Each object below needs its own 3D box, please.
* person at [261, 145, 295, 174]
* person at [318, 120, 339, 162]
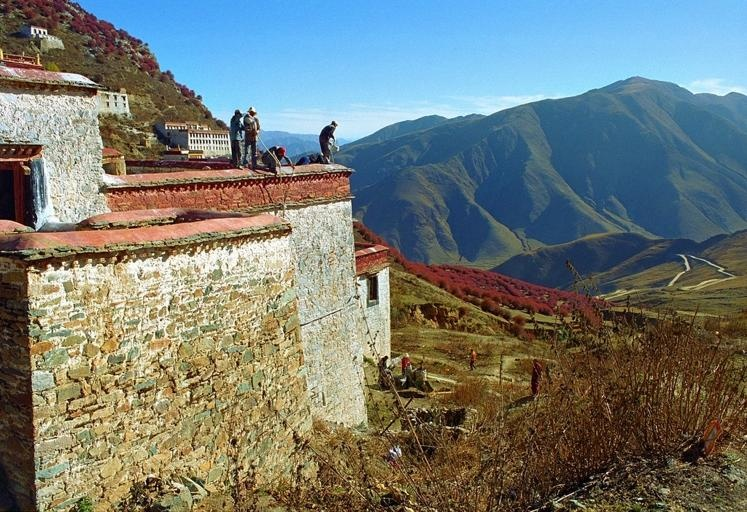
[{"bbox_3d":[-2.572,-2.674,13.434,0.854,0.707,1.624,-3,13,-16],"label":"person"},{"bbox_3d":[-1.408,-3.618,15.559,0.519,1.259,0.783,-1,13,-7],"label":"person"}]
